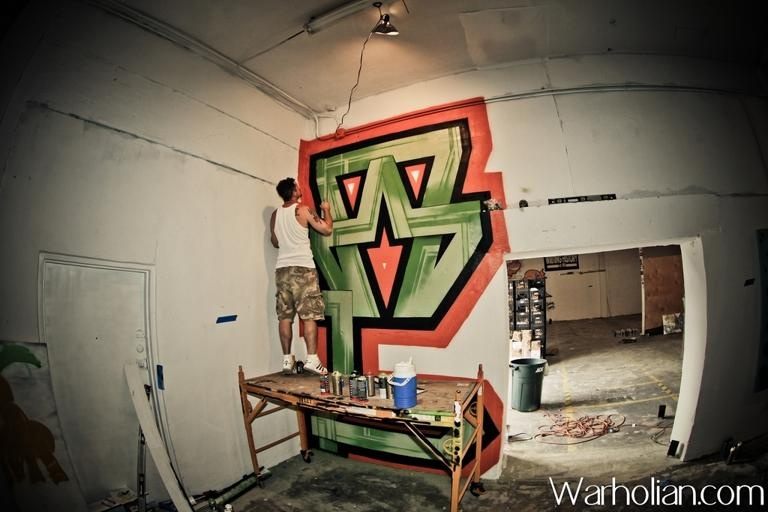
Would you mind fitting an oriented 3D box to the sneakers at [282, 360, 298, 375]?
[{"bbox_3d":[-1.148,1.366,6.408,0.146,0.188,0.195,-6,-15,7],"label":"sneakers"}]

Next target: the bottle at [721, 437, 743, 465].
[{"bbox_3d":[3.701,2.070,5.568,0.065,0.253,0.182,12,0,-34],"label":"bottle"}]

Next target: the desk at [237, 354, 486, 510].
[{"bbox_3d":[-0.197,2.065,6.108,2.663,1.479,1.267,-3,-4,22],"label":"desk"}]

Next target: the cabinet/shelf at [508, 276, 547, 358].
[{"bbox_3d":[3.105,1.267,11.200,0.682,1.578,0.380,-1,-4,1],"label":"cabinet/shelf"}]

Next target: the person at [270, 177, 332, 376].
[{"bbox_3d":[-1.076,0.238,6.478,0.809,2.407,0.336,-2,-4,19],"label":"person"}]
